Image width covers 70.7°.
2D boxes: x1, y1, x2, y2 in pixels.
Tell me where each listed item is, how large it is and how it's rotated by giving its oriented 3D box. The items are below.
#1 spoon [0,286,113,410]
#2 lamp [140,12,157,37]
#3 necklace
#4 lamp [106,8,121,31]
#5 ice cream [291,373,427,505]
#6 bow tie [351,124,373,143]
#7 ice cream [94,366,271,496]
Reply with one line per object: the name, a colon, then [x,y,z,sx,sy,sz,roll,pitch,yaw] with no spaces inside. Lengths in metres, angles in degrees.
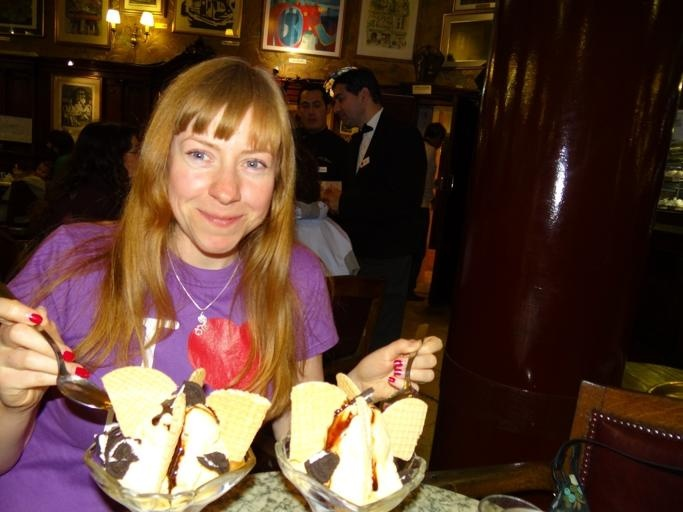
spoon: [-0.586,0.191,0.991,0.047,0.342,0.065,-19,20,38]
lamp: [-2.891,-3.515,7.166,0.218,0.347,0.597,-1,12,-22]
necklace: [-0.368,0.081,1.238,0.188,0.241,0.021,5,1,-7]
lamp: [-3.440,-3.587,7.233,0.196,0.271,0.244,9,44,-8]
ice cream: [0.014,0.299,0.822,0.187,0.114,0.179,29,13,41]
bow tie: [0.137,-0.848,3.272,0.116,0.091,0.044,-7,56,-8]
ice cream: [-0.247,0.234,0.756,0.200,0.100,0.173,-2,22,-45]
